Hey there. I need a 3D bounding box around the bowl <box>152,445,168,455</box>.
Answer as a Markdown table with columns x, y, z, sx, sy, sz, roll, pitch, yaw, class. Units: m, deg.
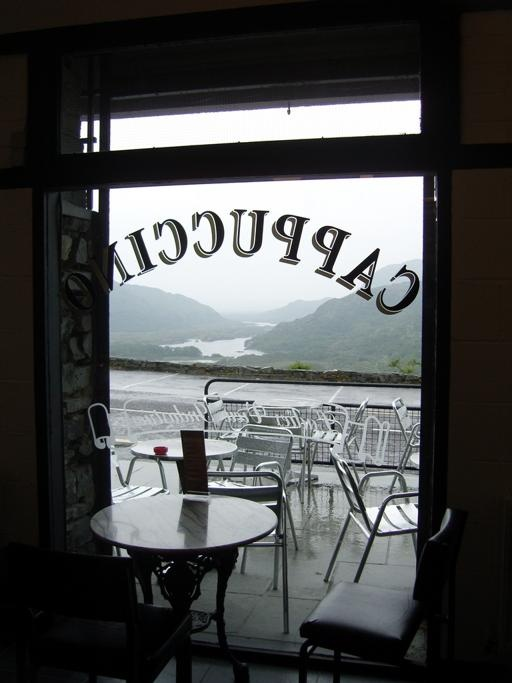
| x | y | z | sx | sy | sz | roll | pitch | yaw | class |
| --- | --- | --- | --- | --- | --- | --- | --- | --- | --- |
| -0.611 | 0.694 | 3.632 | 0.076 | 0.068 | 0.106 | 3 | 6 | -2 | bowl |
